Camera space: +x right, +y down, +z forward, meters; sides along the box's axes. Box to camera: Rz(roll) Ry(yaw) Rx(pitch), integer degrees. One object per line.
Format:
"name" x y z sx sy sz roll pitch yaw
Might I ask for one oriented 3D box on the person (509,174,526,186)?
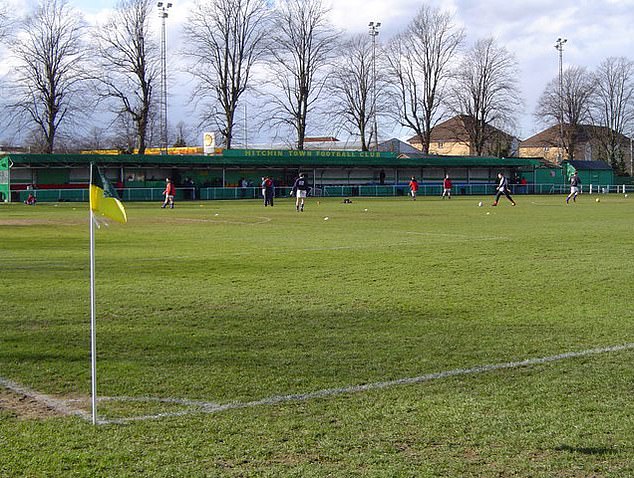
"person" 15.545 -4.692 68.545 0.956 0.591 1.481 1 10 2

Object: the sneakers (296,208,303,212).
"sneakers" -0.576 -1.183 35.004 0.322 0.194 0.109 4 3 -16

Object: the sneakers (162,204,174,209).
"sneakers" -6.476 -1.479 39.178 0.719 0.202 0.302 3 2 21

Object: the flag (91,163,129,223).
"flag" -1.962 -0.437 8.423 0.315 0.627 0.712 -3 11 -14

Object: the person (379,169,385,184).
"person" 4.722 -4.525 62.423 0.495 1.053 0.219 -3 11 -16
